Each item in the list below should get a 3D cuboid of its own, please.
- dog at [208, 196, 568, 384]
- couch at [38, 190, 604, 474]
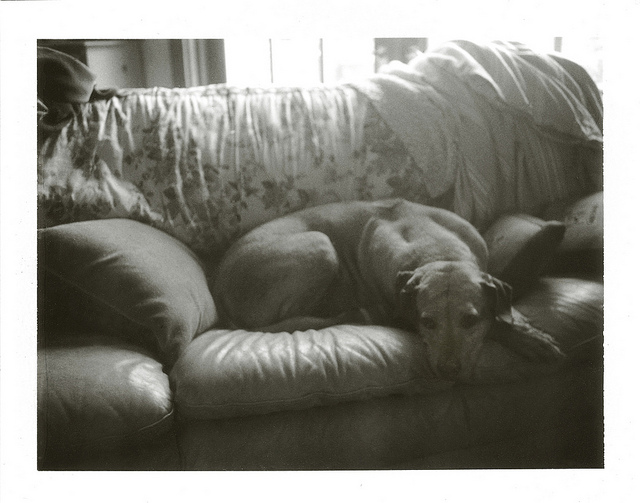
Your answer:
[{"bbox_3d":[0.270,0.235,3.521,1.285,0.522,0.758,4,37,0],"label":"dog"},{"bbox_3d":[-0.121,0.400,3.594,2.656,1.135,0.905,-3,17,13],"label":"couch"}]
